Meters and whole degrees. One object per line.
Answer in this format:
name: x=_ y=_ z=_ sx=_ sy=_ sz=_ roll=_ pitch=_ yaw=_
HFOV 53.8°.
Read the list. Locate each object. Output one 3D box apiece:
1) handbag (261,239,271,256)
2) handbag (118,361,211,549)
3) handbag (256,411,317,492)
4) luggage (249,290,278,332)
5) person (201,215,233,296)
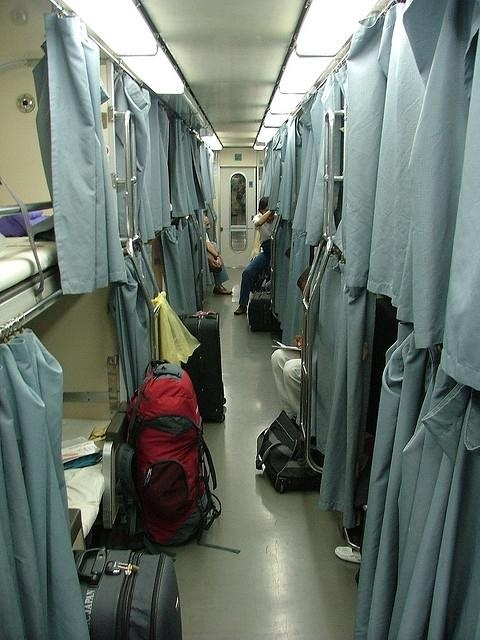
handbag: x=0.402 y=-1.141 z=7.477 sx=0.110 sy=0.244 sz=0.190 roll=-2 pitch=10 yaw=-14
handbag: x=-0.417 y=0.850 z=2.903 sx=0.446 sy=1.384 sz=0.888 roll=-2 pitch=6 yaw=-7
handbag: x=0.298 y=0.859 z=3.073 sx=0.323 sy=0.413 sz=0.579 roll=-3 pitch=11 yaw=-18
luggage: x=0.303 y=-0.093 z=6.587 sx=0.307 sy=0.724 sz=0.368 roll=1 pitch=8 yaw=6
person: x=-0.425 y=-1.255 z=9.125 sx=0.511 sy=1.527 sz=1.782 roll=-1 pitch=10 yaw=-4
